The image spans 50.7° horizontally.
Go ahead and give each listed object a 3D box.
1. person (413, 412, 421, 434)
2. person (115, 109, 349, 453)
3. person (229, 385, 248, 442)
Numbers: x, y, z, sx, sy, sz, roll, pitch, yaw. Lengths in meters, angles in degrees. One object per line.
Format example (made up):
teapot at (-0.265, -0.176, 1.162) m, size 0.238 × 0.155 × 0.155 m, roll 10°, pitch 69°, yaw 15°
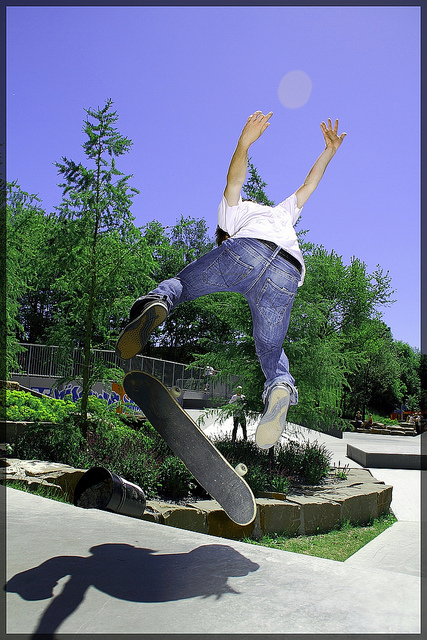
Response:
person at (13.471, 6.973, 30.278) m, size 0.529 × 2.325 × 0.346 m, roll 6°, pitch 33°, yaw 24°
person at (0.324, -0.682, 4.228) m, size 1.471 × 3.165 × 1.147 m, roll 26°, pitch -40°, yaw -12°
person at (0.554, 2.146, 9.995) m, size 0.453 × 1.330 × 0.391 m, roll 2°, pitch 12°, yaw 7°
